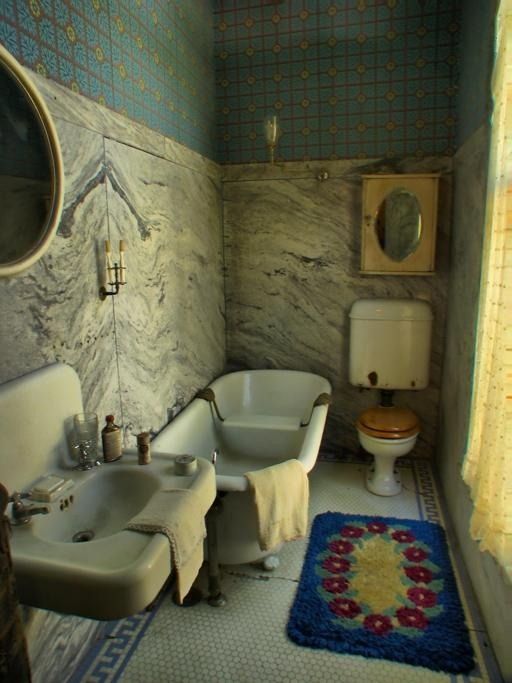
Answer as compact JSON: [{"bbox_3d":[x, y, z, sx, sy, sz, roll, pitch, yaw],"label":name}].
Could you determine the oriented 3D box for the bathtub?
[{"bbox_3d":[0.010,0.498,2.937,0.727,0.411,1.570,4,11,16],"label":"bathtub"}]

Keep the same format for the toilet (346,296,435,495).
[{"bbox_3d":[0.811,0.309,3.068,0.506,1.094,0.581,0,12,10],"label":"toilet"}]

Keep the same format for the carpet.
[{"bbox_3d":[0.530,1.025,2.213,0.673,0.031,0.938,1,11,14],"label":"carpet"}]

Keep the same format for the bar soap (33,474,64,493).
[{"bbox_3d":[-0.553,0.379,1.357,0.040,0.013,0.055,6,14,0],"label":"bar soap"}]
